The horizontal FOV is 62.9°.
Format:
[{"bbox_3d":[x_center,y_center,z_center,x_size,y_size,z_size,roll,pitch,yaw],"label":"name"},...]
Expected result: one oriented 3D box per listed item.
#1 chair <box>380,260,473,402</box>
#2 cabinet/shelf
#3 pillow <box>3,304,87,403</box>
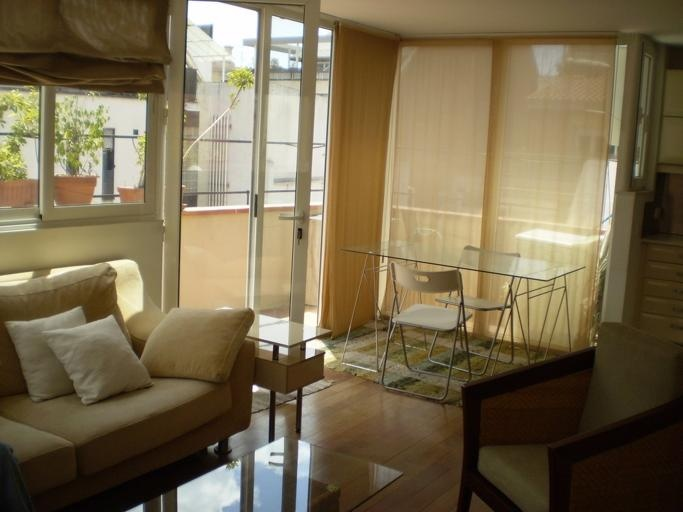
[{"bbox_3d":[0.753,0.668,4.853,0.710,1.275,0.721,8,22,28],"label":"chair"},{"bbox_3d":[-0.461,0.804,3.644,0.326,0.641,0.712,-13,20,-43],"label":"cabinet/shelf"},{"bbox_3d":[-1.583,0.531,3.066,0.396,0.376,0.328,-7,15,-39],"label":"pillow"}]
